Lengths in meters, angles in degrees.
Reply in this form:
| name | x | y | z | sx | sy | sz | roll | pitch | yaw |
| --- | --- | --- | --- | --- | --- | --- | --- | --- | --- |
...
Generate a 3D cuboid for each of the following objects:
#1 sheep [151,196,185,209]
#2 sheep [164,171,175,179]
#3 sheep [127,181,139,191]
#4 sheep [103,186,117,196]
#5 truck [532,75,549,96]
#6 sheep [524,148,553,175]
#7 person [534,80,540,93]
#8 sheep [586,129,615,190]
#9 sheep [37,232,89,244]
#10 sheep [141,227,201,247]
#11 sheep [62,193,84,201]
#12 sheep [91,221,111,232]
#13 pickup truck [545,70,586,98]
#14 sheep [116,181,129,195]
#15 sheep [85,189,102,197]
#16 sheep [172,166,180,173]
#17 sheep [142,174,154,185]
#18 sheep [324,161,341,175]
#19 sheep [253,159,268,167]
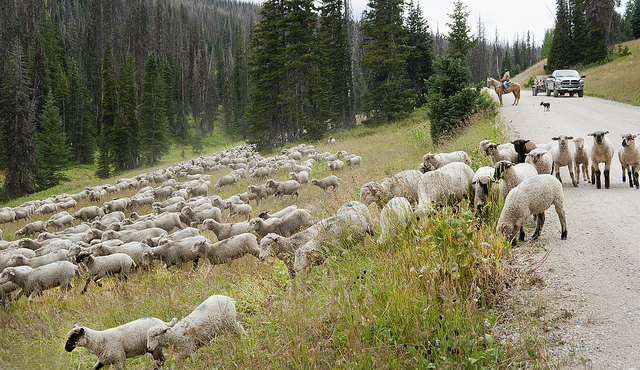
| name | x | y | z | sx | sy | sz | roll | pitch | yaw |
| --- | --- | --- | --- | --- | --- | --- | --- | --- | --- |
| sheep | -13.171 | 1.543 | 43.899 | 2.447 | 1.224 | 0.656 | -7 | 17 | -17 |
| sheep | -17.430 | -1.149 | 58.390 | 0.918 | 0.825 | 1.556 | -8 | 9 | -17 |
| sheep | -21.051 | 0.020 | 56.885 | 1.218 | 0.902 | 0.903 | -5 | 9 | -4 |
| sheep | -22.977 | 0.656 | 55.434 | 1.217 | 0.904 | 0.825 | -10 | 10 | -28 |
| truck | 29.201 | -13.214 | 67.087 | 2.336 | 1.969 | 4.024 | -2 | 6 | 6 |
| sheep | 14.446 | -1.577 | 33.751 | 1.773 | 1.324 | 2.392 | -19 | 11 | -23 |
| person | 28.578 | -12.986 | 66.421 | 0.541 | 1.607 | 1.471 | -1 | 9 | 22 |
| sheep | 19.002 | -1.725 | 33.981 | 1.399 | 3.711 | 1.675 | -3 | 9 | 15 |
| sheep | -18.966 | 3.936 | 37.314 | 2.797 | 1.123 | 0.801 | 0 | -1 | 0 |
| sheep | -10.372 | 3.651 | 34.907 | 1.831 | 0.929 | 0.541 | -15 | 26 | 0 |
| sheep | -26.284 | 1.345 | 53.367 | 2.163 | 1.113 | 0.662 | 4 | 8 | -12 |
| sheep | -16.862 | 3.099 | 38.589 | 1.470 | 0.743 | 0.536 | 17 | -23 | -32 |
| pickup truck | 28.760 | -12.071 | 59.248 | 2.576 | 1.783 | 4.769 | 0 | 4 | 13 |
| sheep | -21.950 | 0.328 | 56.011 | 0.655 | 1.049 | 1.614 | -3 | 9 | 14 |
| sheep | -24.294 | 0.700 | 53.700 | 0.693 | 1.124 | 2.245 | 17 | -6 | -12 |
| sheep | -17.116 | -1.791 | 60.098 | 0.792 | 0.843 | 1.506 | -3 | 4 | -13 |
| sheep | -19.549 | -0.568 | 57.428 | 1.063 | 1.022 | 0.979 | -8 | 9 | -19 |
| sheep | 1.180 | -1.598 | 47.574 | 1.524 | 1.259 | 0.808 | 3 | 12 | 40 |
| sheep | -6.071 | -2.288 | 53.279 | 1.890 | 0.969 | 0.585 | -18 | 13 | -40 |
